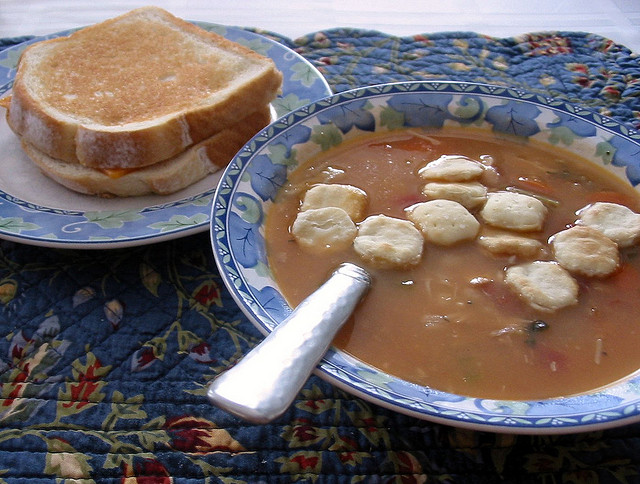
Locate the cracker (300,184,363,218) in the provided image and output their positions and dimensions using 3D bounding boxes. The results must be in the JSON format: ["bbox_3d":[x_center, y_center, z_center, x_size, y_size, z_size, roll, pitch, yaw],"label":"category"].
[{"bbox_3d":[0.026,-0.101,1.447,0.139,0.021,0.087,-5,44,-2],"label":"cracker"}]

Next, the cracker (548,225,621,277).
[{"bbox_3d":[0.584,0.021,1.365,0.146,0.038,0.129,1,46,4],"label":"cracker"}]

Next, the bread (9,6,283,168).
[{"bbox_3d":[-0.505,-0.465,1.852,0.735,0.145,0.691,30,46,26],"label":"bread"}]

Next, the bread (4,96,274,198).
[{"bbox_3d":[-0.433,-0.228,1.702,0.591,0.077,0.429,-27,54,-23],"label":"bread"}]
